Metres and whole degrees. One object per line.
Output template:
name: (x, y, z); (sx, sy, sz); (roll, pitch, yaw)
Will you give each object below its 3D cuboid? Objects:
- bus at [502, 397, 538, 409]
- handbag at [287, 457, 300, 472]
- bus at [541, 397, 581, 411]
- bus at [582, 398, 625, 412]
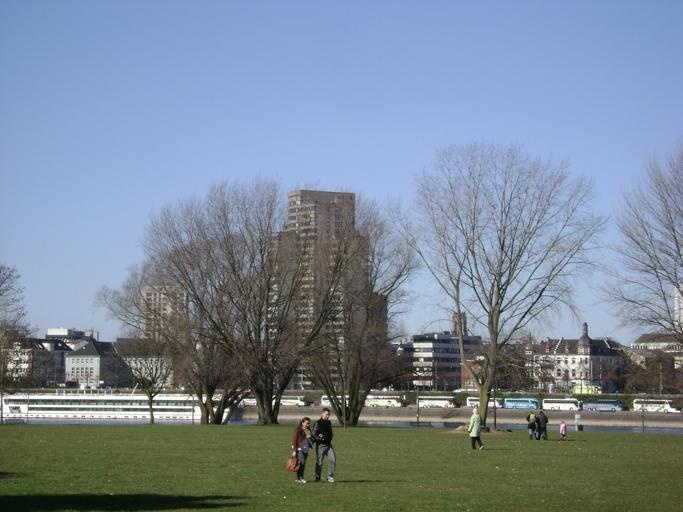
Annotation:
bus: (21.642, 17.966, 172.911); (4.456, 1.611, 1.512); (-1, 4, 17)
handbag: (-2.734, 12.371, 85.243); (0.748, 0.887, 0.522); (4, -10, -25)
bus: (26.613, 18.001, 173.194); (4.553, 2.242, 11.773); (-2, -10, 8)
bus: (31.737, 18.592, 175.332); (5.278, 1.747, 1.926); (2, -5, 29)
